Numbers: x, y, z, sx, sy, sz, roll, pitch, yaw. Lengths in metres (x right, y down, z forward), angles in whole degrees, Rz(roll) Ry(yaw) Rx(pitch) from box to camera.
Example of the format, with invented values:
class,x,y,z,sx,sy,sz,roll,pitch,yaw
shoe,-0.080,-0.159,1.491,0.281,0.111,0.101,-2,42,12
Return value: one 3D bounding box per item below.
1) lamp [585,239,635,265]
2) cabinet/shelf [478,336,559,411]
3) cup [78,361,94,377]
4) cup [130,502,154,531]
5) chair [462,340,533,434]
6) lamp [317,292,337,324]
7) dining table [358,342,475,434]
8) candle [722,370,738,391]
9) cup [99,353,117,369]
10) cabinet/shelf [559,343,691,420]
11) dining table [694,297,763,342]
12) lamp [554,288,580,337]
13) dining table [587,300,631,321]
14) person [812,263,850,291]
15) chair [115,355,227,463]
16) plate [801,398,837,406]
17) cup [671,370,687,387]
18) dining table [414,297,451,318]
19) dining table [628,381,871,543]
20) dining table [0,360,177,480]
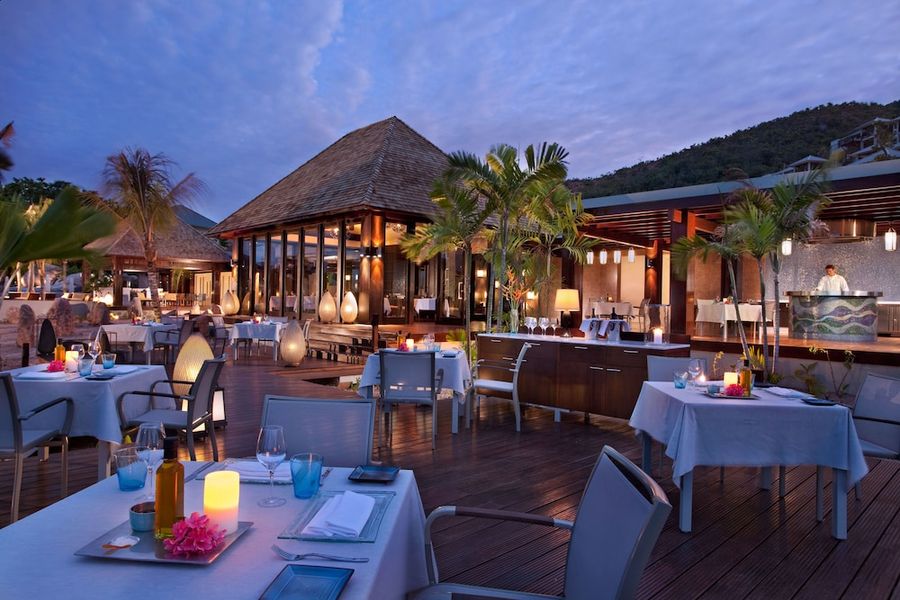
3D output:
class,x,y,z,sx,sy,sz,roll,pitch,yaw
lamp,5.369,-1.633,19.731,1.186,0.483,1.207,0,-3,3
cabinet/shelf,1.039,1.002,8.541,1.349,0.970,0.304,7,9,36
cup,-3.508,0.664,5.660,0.121,0.119,0.126,-1,-8,0
cup,-1.602,1.141,3.059,0.130,0.098,0.131,0,-6,0
chair,0.752,1.117,8.328,0.849,1.154,0.743,4,8,15
lamp,-3.325,0.225,15.914,0.523,0.847,0.339,2,7,1
dining table,-0.500,1.328,8.035,1.674,1.010,1.734,-6,-14,25
candle,2.552,0.756,5.372,0.134,0.154,0.136,2,-1,0
cup,-3.485,0.623,5.990,0.138,0.120,0.145,0,-7,0
cabinet/shelf,2.247,1.080,7.992,1.374,0.952,0.785,2,-2,43
dining table,6.680,0.350,14.335,1.420,0.737,1.181,-1,0,-37
lamp,2.565,0.305,13.039,0.619,1.017,0.615,9,-11,-29
dining table,5.167,0.291,19.056,0.967,0.637,0.986,-3,-7,35
person,9.845,-0.606,15.162,0.480,1.101,0.728,15,-14,-22
chair,-2.789,1.117,5.901,0.963,1.027,0.932,3,-1,-31
plate,3.189,0.891,5.167,0.267,0.037,0.370,0,-2,29
cup,2.222,0.788,5.740,0.126,0.152,0.128,0,-5,0
dining table,-0.614,0.235,19.344,0.750,0.385,0.776,-1,-2,32
dining table,2.678,1.401,5.364,1.612,1.122,0.946,3,7,5
dining table,-3.390,0.943,5.575,1.158,0.581,1.060,0,0,17
